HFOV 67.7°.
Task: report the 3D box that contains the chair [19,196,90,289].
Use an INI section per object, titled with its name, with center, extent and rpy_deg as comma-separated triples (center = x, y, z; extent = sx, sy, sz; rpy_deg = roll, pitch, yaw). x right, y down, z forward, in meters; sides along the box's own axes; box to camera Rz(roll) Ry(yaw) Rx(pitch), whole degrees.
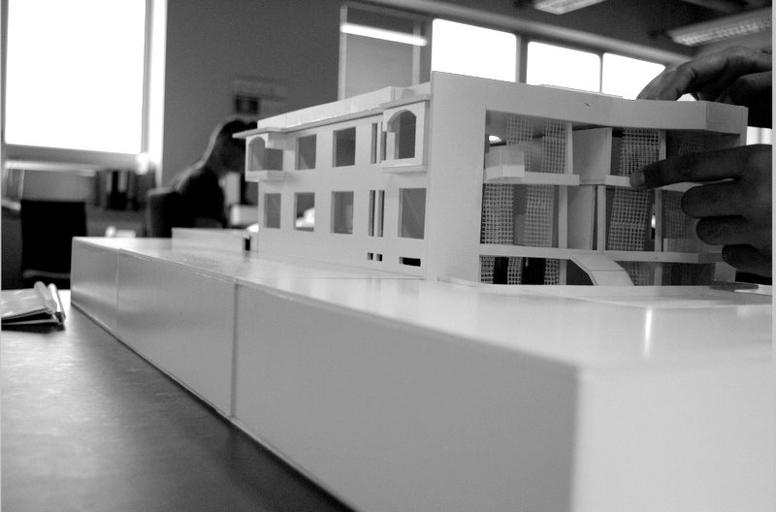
[chair]
center = -1.462, -0.063, 2.554
extent = 0.270, 0.326, 0.274
rpy_deg = -3, 8, -32
